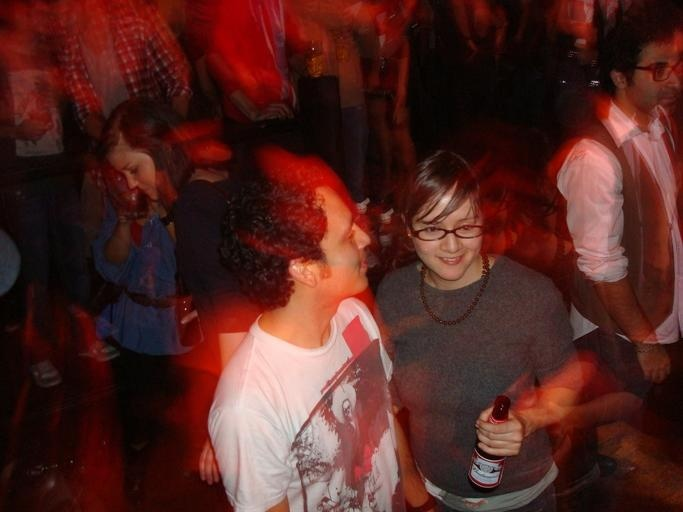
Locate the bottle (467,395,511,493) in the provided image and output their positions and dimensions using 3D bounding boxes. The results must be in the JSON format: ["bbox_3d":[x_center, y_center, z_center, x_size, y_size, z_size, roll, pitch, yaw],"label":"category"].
[{"bbox_3d":[0.721,0.930,2.561,0.152,0.530,0.241,11,39,24],"label":"bottle"}]

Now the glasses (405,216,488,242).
[{"bbox_3d":[0.540,-0.117,2.613,0.306,0.077,0.069,-4,36,5],"label":"glasses"}]
